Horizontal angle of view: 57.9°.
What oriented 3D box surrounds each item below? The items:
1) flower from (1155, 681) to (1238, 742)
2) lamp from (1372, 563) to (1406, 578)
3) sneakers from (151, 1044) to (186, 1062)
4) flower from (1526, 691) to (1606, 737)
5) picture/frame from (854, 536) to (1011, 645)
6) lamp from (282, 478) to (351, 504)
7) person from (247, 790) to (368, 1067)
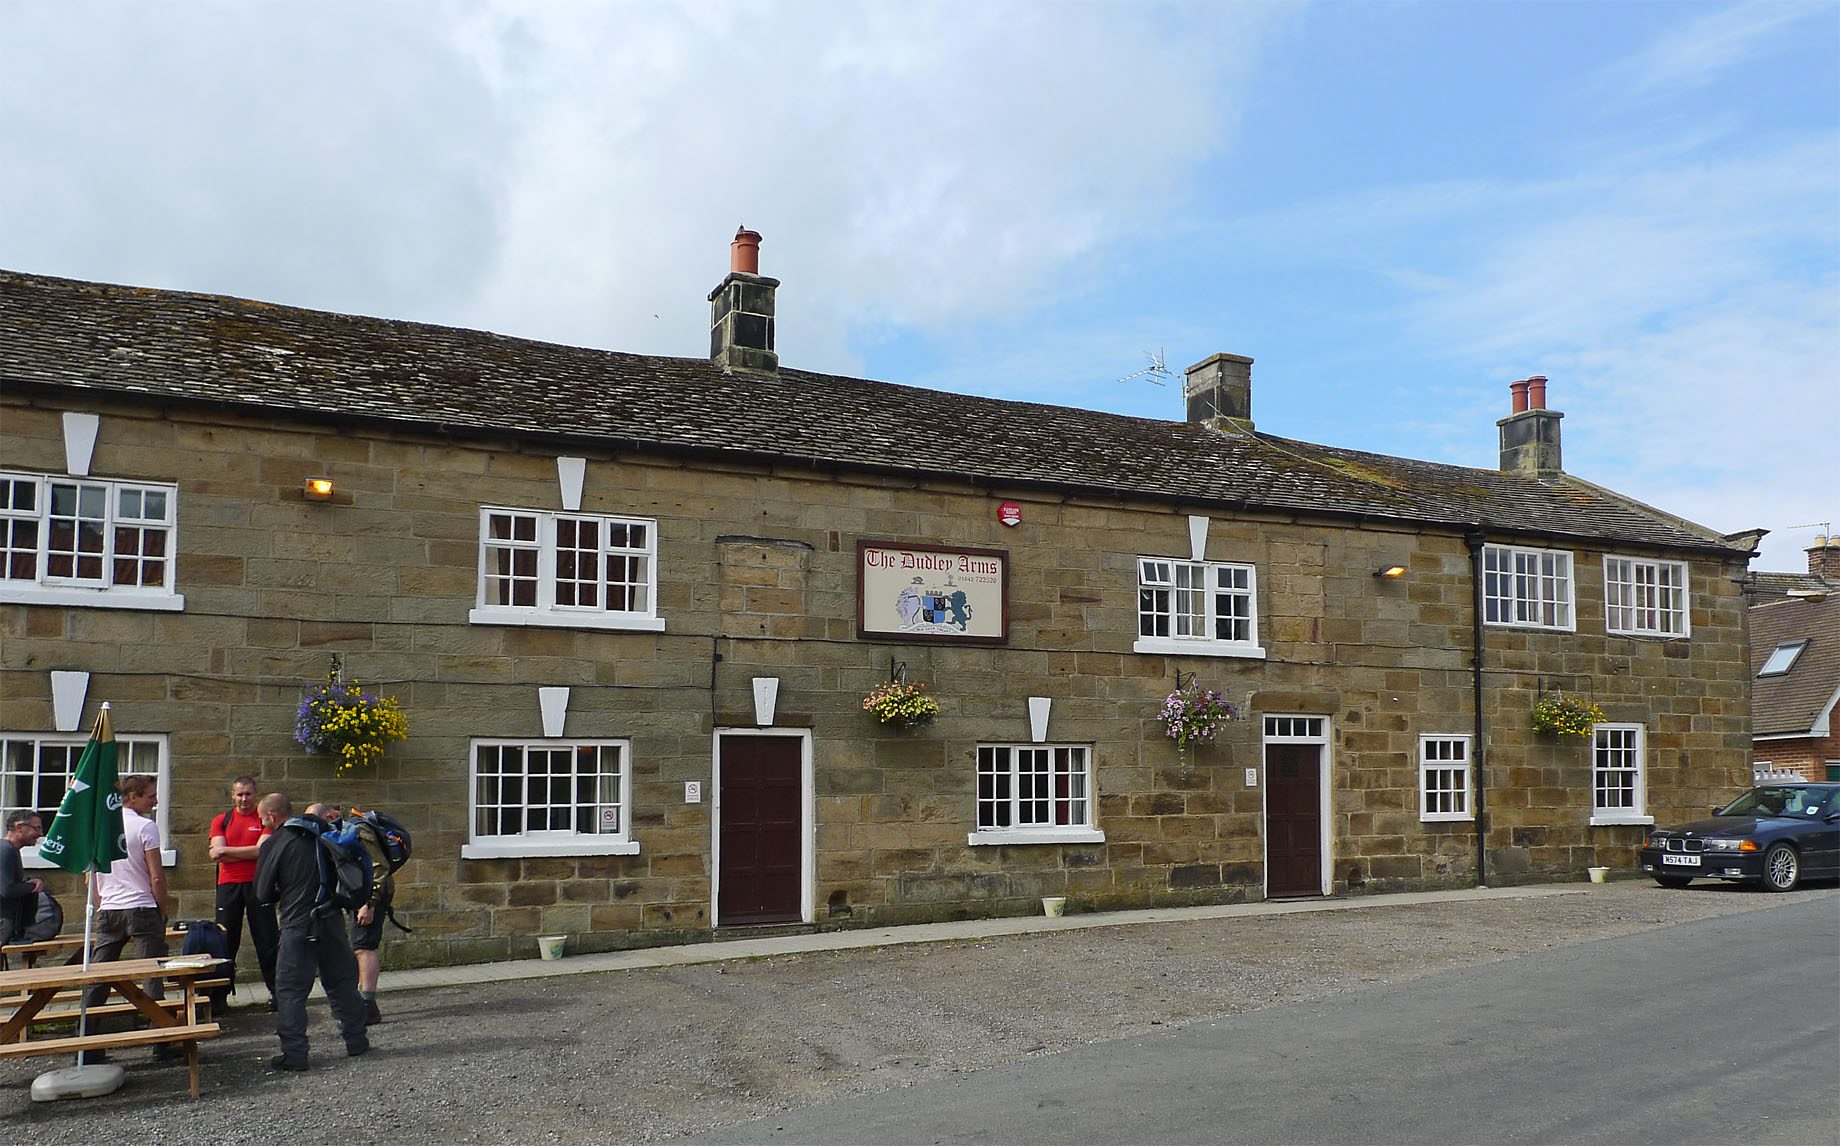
[{"bbox_3d":[4.287,2.271,26.523,1.145,0.789,1.053,6,-7,-17],"label":"flower"},{"bbox_3d":[7.984,0.014,28.174,0.681,0.250,0.300,-2,1,-33],"label":"lamp"},{"bbox_3d":[-8.265,5.286,18.213,0.436,0.247,0.149,10,-19,-19],"label":"sneakers"},{"bbox_3d":[11.281,2.528,29.142,1.139,0.647,0.955,3,-2,-44],"label":"flower"},{"bbox_3d":[0.040,0.322,25.094,2.024,1.020,0.082,2,-3,-22],"label":"picture/frame"},{"bbox_3d":[-8.113,-1.089,22.285,0.865,0.314,0.282,-1,1,-16],"label":"lamp"},{"bbox_3d":[-6.609,4.014,18.070,1.077,2.581,0.853,-2,2,-22],"label":"person"}]
